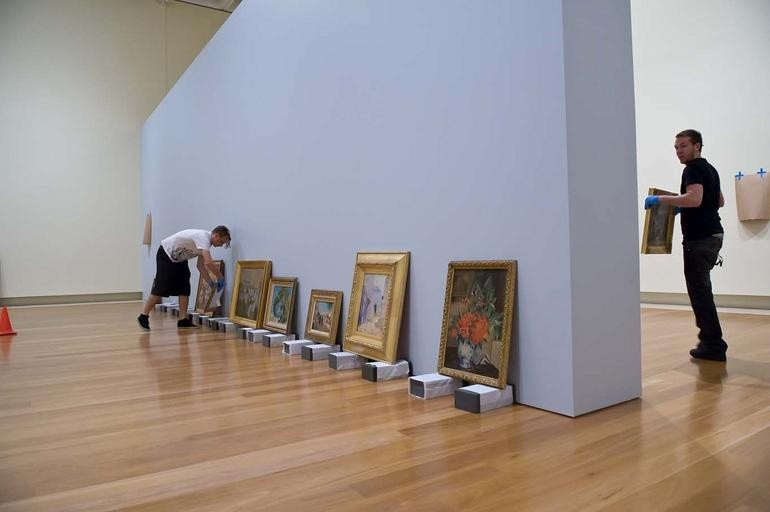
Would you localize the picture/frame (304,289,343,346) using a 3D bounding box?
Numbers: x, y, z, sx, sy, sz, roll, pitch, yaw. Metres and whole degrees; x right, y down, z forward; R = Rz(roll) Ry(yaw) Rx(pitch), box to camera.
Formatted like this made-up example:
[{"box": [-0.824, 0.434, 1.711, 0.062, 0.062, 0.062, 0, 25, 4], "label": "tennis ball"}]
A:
[{"box": [-0.628, 0.629, 4.924, 0.051, 0.515, 0.490, 12, -13, -37], "label": "picture/frame"}]

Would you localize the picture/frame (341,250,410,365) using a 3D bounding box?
[{"box": [-0.074, 0.469, 4.311, 0.192, 1.180, 0.959, 13, -8, -32], "label": "picture/frame"}]

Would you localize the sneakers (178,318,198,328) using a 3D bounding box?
[{"box": [-2.805, 0.927, 6.780, 0.265, 0.120, 0.108, 0, -1, -2], "label": "sneakers"}]

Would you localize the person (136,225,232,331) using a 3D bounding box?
[{"box": [-2.732, 0.291, 6.693, 1.250, 1.378, 0.882, 1, 5, 28], "label": "person"}]

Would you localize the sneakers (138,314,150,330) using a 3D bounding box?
[{"box": [-3.359, 0.906, 6.680, 0.135, 0.201, 0.072, -40, -5, -6], "label": "sneakers"}]

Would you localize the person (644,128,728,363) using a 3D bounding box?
[{"box": [2.916, -0.138, 4.622, 0.627, 2.141, 0.700, 2, 6, 36], "label": "person"}]

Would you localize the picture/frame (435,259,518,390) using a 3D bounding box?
[{"box": [0.657, 0.465, 3.611, 0.578, 0.877, 0.240, 3, 7, 44], "label": "picture/frame"}]

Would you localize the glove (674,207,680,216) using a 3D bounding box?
[{"box": [3.117, -0.472, 5.160, 0.060, 0.090, 0.032, -4, -6, 37], "label": "glove"}]

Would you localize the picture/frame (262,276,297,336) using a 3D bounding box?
[{"box": [-1.227, 0.591, 5.593, 0.061, 0.635, 0.602, 11, -11, -35], "label": "picture/frame"}]

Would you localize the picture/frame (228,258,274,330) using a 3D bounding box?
[{"box": [-1.707, 0.488, 6.139, 0.082, 0.758, 0.829, 13, -12, -33], "label": "picture/frame"}]
